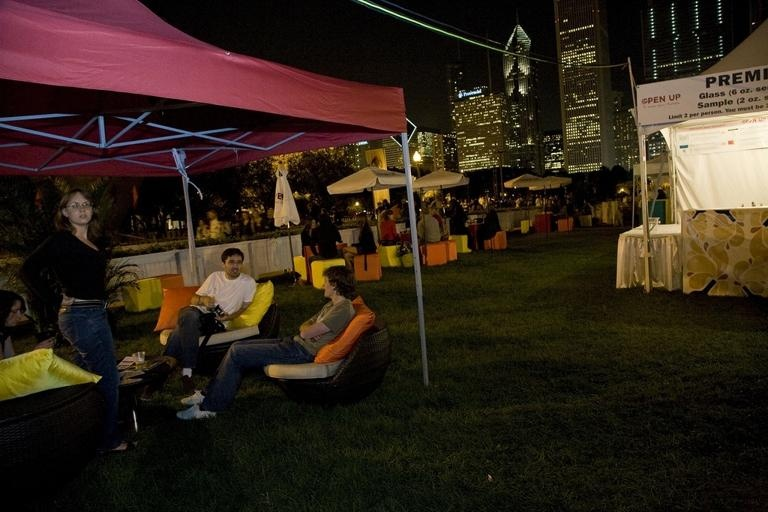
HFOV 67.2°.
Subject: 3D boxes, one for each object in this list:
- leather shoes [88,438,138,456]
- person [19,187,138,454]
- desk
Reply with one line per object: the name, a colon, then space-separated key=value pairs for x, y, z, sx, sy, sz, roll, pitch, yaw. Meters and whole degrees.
leather shoes: x=-2.972 y=2.115 z=6.404 sx=0.537 sy=0.147 sz=0.195 roll=-5 pitch=6 yaw=-27
person: x=-3.385 y=0.723 z=6.238 sx=0.953 sy=2.850 sz=0.927 roll=-1 pitch=5 yaw=9
desk: x=5.628 y=0.139 z=11.626 sx=1.793 sy=1.008 sz=1.457 roll=-2 pitch=-12 yaw=39
